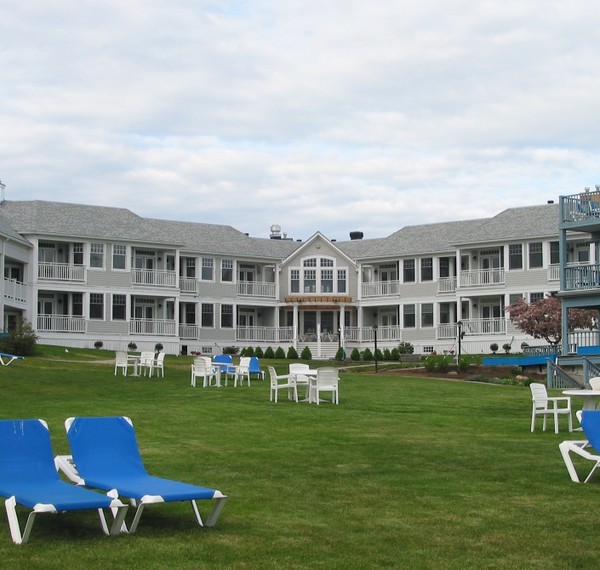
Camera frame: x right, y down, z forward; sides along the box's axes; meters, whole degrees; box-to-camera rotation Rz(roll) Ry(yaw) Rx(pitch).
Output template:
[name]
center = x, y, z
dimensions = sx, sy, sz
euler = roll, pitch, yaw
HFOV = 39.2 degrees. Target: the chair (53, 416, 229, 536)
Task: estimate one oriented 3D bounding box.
[chair]
center = -1.937, 2.074, 9.553
dimensions = 1.137, 0.973, 2.073
euler = 2, -3, -40
